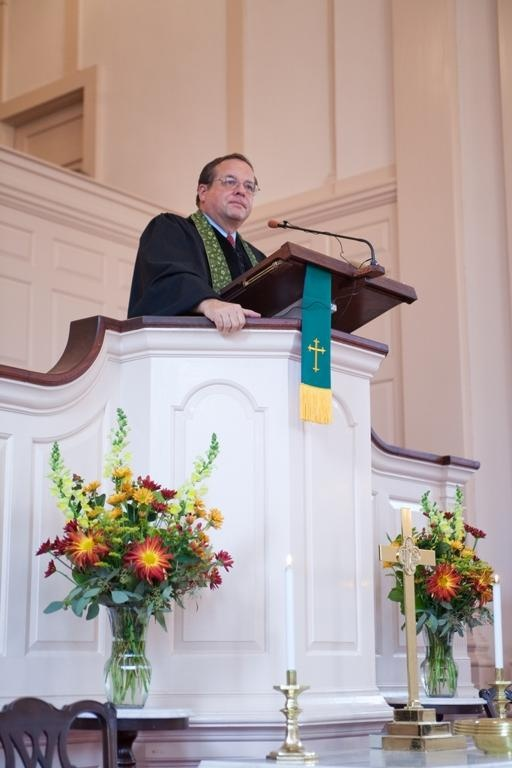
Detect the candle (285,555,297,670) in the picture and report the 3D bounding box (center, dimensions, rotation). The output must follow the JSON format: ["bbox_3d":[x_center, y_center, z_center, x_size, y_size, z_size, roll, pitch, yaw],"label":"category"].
[{"bbox_3d":[0.071,0.466,2.064,0.034,0.211,0.033,-1,-18,2],"label":"candle"}]

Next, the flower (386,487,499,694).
[{"bbox_3d":[0.696,0.749,3.593,0.419,0.643,0.421,2,-2,21],"label":"flower"}]

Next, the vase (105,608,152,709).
[{"bbox_3d":[-0.310,0.649,2.445,0.105,0.231,0.105,-2,-15,-10],"label":"vase"}]

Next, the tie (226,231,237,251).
[{"bbox_3d":[-0.091,-0.554,3.990,0.017,0.065,0.061,-1,-17,15],"label":"tie"}]

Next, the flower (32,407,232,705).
[{"bbox_3d":[-0.310,0.447,2.531,0.478,0.604,0.430,2,1,29],"label":"flower"}]
